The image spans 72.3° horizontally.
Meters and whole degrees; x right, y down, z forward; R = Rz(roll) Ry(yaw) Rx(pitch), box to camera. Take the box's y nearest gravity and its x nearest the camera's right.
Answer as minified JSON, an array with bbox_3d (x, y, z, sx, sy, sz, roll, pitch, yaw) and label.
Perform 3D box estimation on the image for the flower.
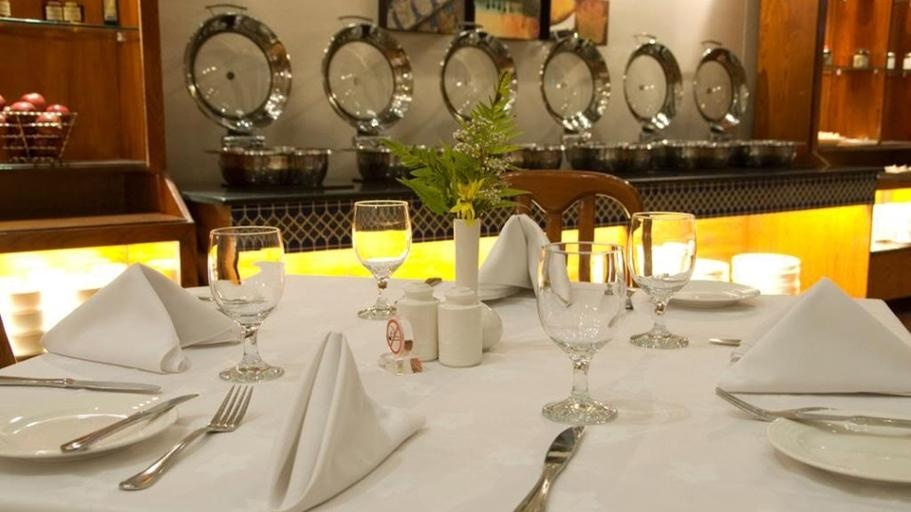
[{"bbox_3d":[-0.010,-0.251,1.417,0.295,0.330,0.164,-1,10,-6],"label":"flower"}]

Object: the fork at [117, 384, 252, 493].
[{"bbox_3d":[-0.440,0.311,1.131,0.061,0.064,0.354,10,15,16],"label":"fork"}]

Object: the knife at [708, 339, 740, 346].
[{"bbox_3d":[0.595,0.190,1.377,0.045,0.011,0.025,-1,1,9],"label":"knife"}]

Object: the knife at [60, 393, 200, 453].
[{"bbox_3d":[-0.571,0.294,1.088,0.034,0.021,0.236,41,29,22],"label":"knife"}]

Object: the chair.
[{"bbox_3d":[0.416,-0.126,2.116,0.322,0.408,0.324,6,16,25],"label":"chair"}]

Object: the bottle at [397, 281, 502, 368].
[{"bbox_3d":[-0.018,0.148,1.370,0.217,0.160,0.127,3,6,21],"label":"bottle"}]
